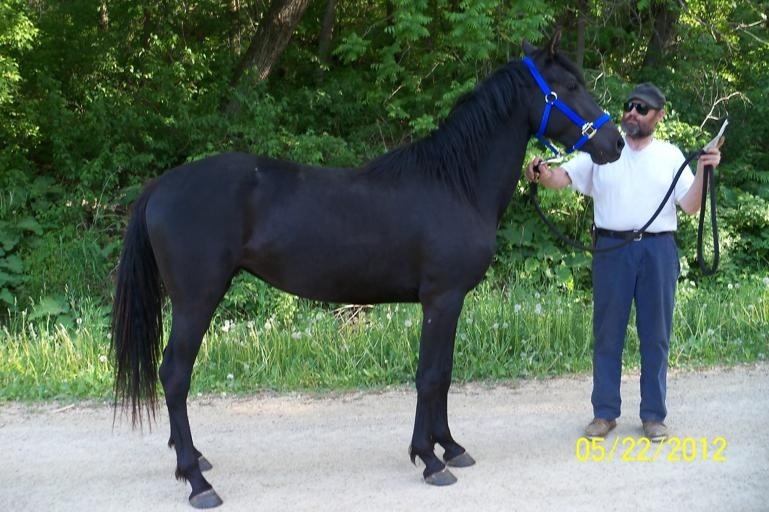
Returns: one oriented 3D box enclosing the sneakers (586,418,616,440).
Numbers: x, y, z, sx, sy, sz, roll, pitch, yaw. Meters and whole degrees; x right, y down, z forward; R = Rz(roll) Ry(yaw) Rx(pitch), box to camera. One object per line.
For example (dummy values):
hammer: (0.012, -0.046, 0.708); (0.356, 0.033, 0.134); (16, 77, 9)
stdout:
sneakers: (2.275, 1.797, 8.602); (0.324, 0.142, 0.158); (-14, 2, -36)

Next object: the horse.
horse: (-0.288, 0.251, 9.343); (5.424, 5.023, 1.532); (-1, -6, 2)

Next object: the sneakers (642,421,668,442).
sneakers: (2.819, 1.821, 8.506); (0.251, 0.200, 0.217); (-3, -4, 18)
